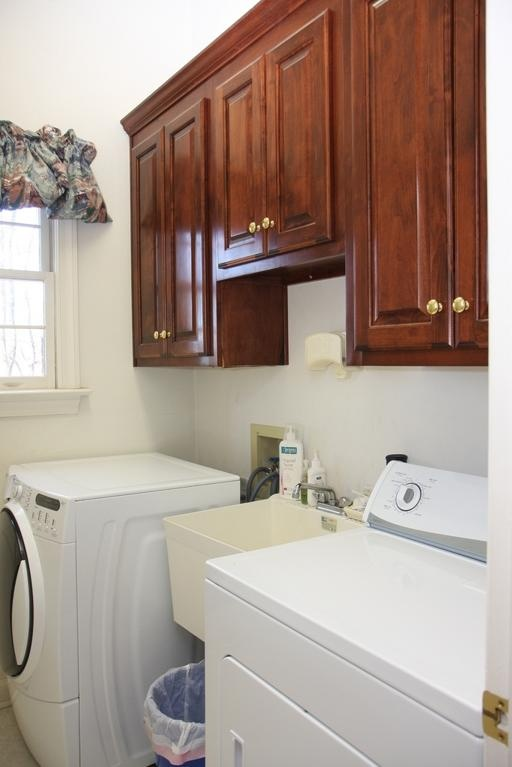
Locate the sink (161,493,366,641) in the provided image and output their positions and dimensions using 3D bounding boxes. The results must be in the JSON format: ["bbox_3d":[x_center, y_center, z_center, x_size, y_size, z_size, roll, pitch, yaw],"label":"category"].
[{"bbox_3d":[-0.024,0.414,1.791,0.468,0.367,0.455,-2,5,-41],"label":"sink"}]

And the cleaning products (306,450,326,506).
[{"bbox_3d":[0.214,0.312,1.902,0.051,0.160,0.037,-7,6,25],"label":"cleaning products"}]
